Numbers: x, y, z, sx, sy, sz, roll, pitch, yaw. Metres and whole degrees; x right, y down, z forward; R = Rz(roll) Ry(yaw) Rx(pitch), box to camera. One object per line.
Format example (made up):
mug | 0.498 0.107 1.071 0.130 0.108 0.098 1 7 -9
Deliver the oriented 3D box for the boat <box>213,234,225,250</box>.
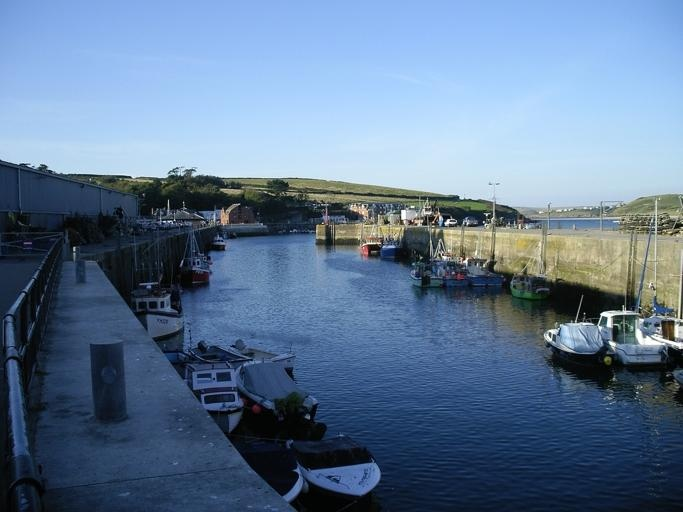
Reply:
boat | -22.031 -2.212 114.410 1.591 1.900 5.223 -2 9 -14
